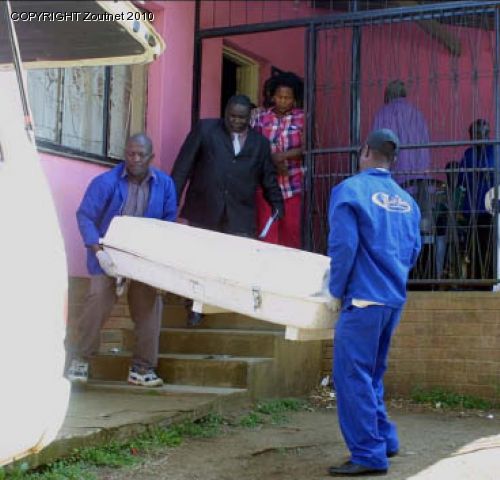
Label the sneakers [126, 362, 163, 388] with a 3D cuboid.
[{"bbox_3d":[-0.826,1.040,7.387,0.286,0.165,0.124,4,0,27],"label":"sneakers"}]

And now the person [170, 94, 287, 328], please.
[{"bbox_3d":[-0.212,-0.301,8.694,0.975,2.182,0.626,2,35,-9],"label":"person"}]

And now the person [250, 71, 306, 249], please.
[{"bbox_3d":[0.268,-0.598,9.485,0.535,2.229,0.539,4,35,3],"label":"person"}]

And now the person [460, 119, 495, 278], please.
[{"bbox_3d":[2.052,-0.364,8.649,0.358,1.397,0.809,5,10,10],"label":"person"}]

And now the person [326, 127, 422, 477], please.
[{"bbox_3d":[0.717,0.398,5.890,0.539,2.091,0.766,5,10,11],"label":"person"}]

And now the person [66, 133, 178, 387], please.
[{"bbox_3d":[-0.967,0.163,7.424,0.810,1.930,0.778,2,10,-12],"label":"person"}]
